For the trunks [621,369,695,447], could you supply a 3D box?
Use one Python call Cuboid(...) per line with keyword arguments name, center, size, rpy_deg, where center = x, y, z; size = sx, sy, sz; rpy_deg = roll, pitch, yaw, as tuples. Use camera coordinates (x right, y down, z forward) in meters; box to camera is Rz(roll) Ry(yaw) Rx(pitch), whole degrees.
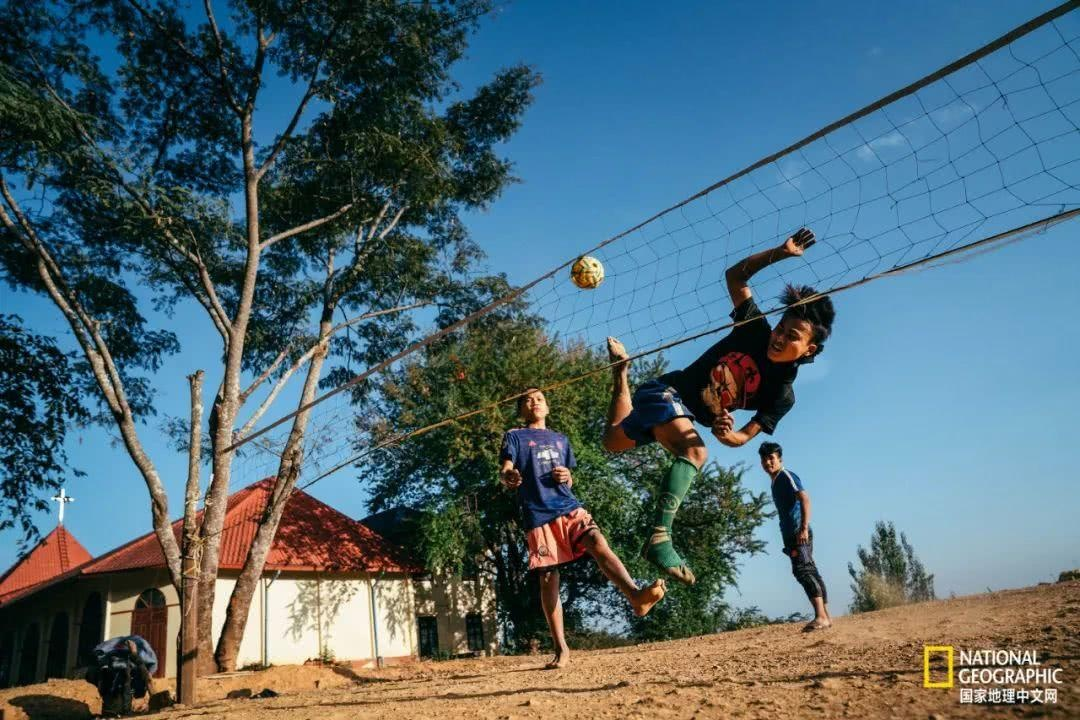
Cuboid(name="trunks", center=(1.489, 0.614, 9.640), size=(1.051, 1.024, 0.599), rpy_deg=(-7, -57, 26))
